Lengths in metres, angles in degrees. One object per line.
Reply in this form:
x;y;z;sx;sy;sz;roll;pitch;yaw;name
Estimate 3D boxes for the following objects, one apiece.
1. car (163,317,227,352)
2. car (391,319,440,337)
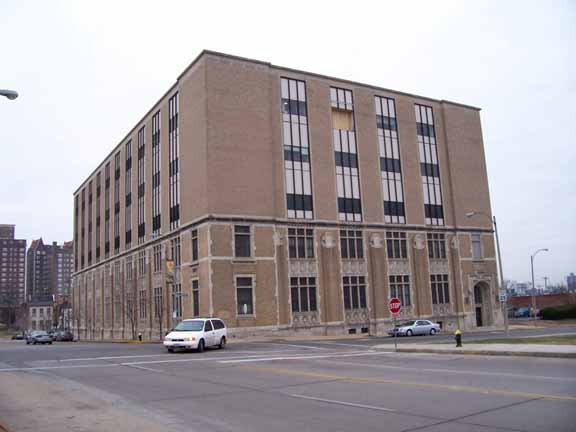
-5.676;7.399;34.258;1.937;1.573;3.621;-9;-19;20;car
11.965;10.355;50.407;4.327;1.459;1.233;3;-15;-23;car
